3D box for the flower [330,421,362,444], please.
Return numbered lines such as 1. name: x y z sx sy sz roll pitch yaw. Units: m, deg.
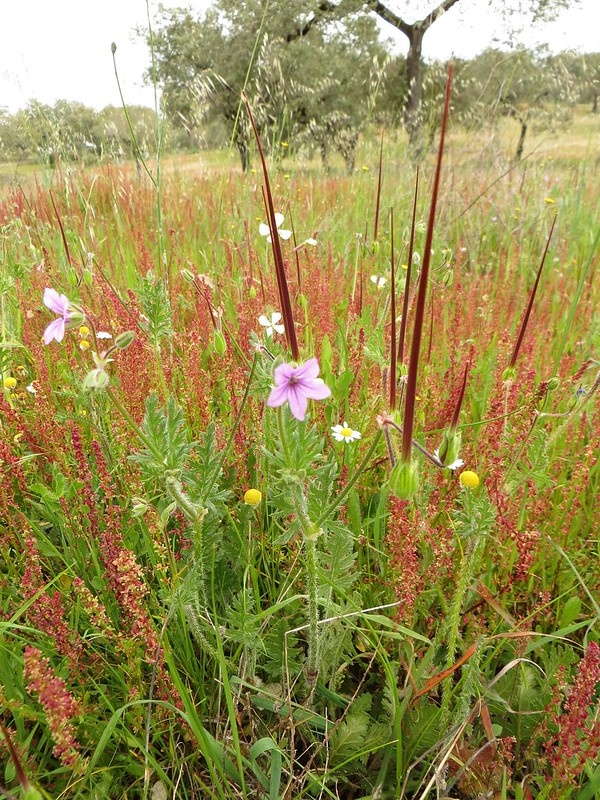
1. flower: 0.138 0.100 1.817 0.072 0.021 0.075 4 35 -27
